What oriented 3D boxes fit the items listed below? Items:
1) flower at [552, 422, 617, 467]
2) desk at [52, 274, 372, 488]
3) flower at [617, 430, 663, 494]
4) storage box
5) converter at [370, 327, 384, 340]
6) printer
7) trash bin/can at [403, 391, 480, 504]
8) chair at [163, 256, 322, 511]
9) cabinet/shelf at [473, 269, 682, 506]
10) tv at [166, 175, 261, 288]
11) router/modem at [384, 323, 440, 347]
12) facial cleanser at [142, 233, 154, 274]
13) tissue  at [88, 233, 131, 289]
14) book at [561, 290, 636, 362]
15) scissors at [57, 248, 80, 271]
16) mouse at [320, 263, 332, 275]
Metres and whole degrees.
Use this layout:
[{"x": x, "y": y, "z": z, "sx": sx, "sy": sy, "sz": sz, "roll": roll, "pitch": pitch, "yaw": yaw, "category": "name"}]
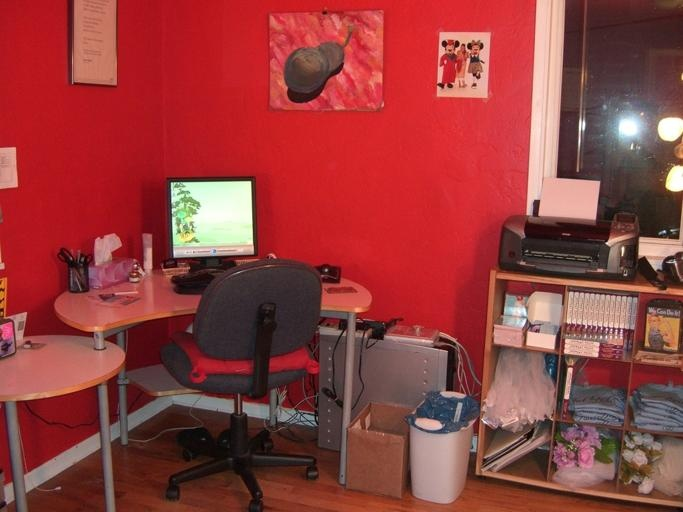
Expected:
[{"x": 1.274, "y": 1.004, "z": 3.095, "sx": 0.258, "sy": 0.153, "sz": 0.269, "roll": 1, "pitch": 30, "yaw": 16, "category": "flower"}, {"x": -0.880, "y": 0.266, "z": 3.008, "sx": 1.428, "sy": 0.768, "sz": 1.122, "roll": -3, "pitch": 8, "yaw": -31, "category": "desk"}, {"x": 1.561, "y": 1.067, "z": 3.065, "sx": 0.211, "sy": 0.285, "sz": 0.152, "roll": 4, "pitch": 8, "yaw": 9, "category": "flower"}, {"x": 0.210, "y": 1.027, "z": 3.232, "sx": 0.314, "sy": 0.311, "sz": 0.450, "roll": 4, "pitch": 12, "yaw": 13, "category": "storage box"}, {"x": 0.209, "y": 0.442, "z": 3.389, "sx": 0.076, "sy": 0.058, "sz": 0.078, "roll": 3, "pitch": 30, "yaw": 0, "category": "converter"}, {"x": 1.141, "y": -0.027, "z": 2.981, "sx": 0.591, "sy": 0.323, "sz": 0.355, "roll": 4, "pitch": 7, "yaw": 19, "category": "printer"}, {"x": 0.560, "y": 0.946, "z": 3.231, "sx": 0.411, "sy": 0.562, "sz": 0.657, "roll": 0, "pitch": 6, "yaw": 17, "category": "trash bin/can"}, {"x": -0.502, "y": 0.620, "z": 2.989, "sx": 0.788, "sy": 1.298, "sz": 0.604, "roll": 6, "pitch": 8, "yaw": 24, "category": "chair"}, {"x": 1.263, "y": 0.710, "z": 3.090, "sx": 1.073, "sy": 1.061, "sz": 0.353, "roll": 4, "pitch": 7, "yaw": 17, "category": "cabinet/shelf"}, {"x": -0.757, "y": -0.171, "z": 3.617, "sx": 0.589, "sy": 0.692, "sz": 0.588, "roll": -2, "pitch": 6, "yaw": -18, "category": "tv"}, {"x": 0.416, "y": 0.450, "z": 3.408, "sx": 0.287, "sy": 0.071, "sz": 0.227, "roll": 5, "pitch": 8, "yaw": 17, "category": "router/modem"}, {"x": -1.169, "y": -0.018, "z": 3.552, "sx": 0.048, "sy": 0.225, "sz": 0.150, "roll": -1, "pitch": 8, "yaw": -26, "category": "facial cleanser"}, {"x": -1.311, "y": 0.034, "z": 3.309, "sx": 0.149, "sy": 0.260, "sz": 0.269, "roll": 4, "pitch": 10, "yaw": 19, "category": "tissue "}, {"x": 1.335, "y": 0.356, "z": 3.030, "sx": 0.358, "sy": 0.347, "sz": 0.089, "roll": 8, "pitch": -2, "yaw": 14, "category": "book"}, {"x": -1.443, "y": 0.002, "z": 3.163, "sx": 0.029, "sy": 0.117, "sz": 0.117, "roll": -31, "pitch": -6, "yaw": -45, "category": "scissors"}, {"x": -0.086, "y": 0.076, "z": 3.444, "sx": 0.042, "sy": 0.059, "sz": 0.051, "roll": 3, "pitch": -6, "yaw": 16, "category": "mouse"}]
